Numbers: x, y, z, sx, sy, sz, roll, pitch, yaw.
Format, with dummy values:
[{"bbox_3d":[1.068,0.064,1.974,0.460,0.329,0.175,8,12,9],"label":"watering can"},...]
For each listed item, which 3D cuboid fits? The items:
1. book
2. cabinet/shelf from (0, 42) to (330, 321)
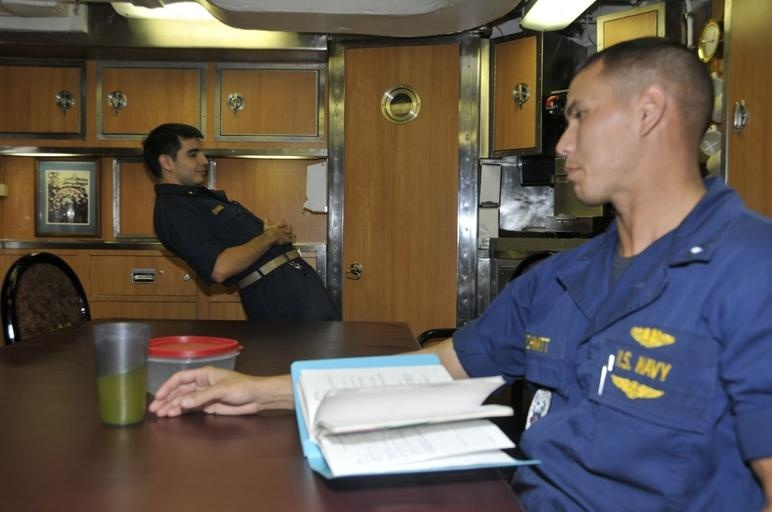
[{"bbox_3d":[0.043,0.395,1.636,0.496,0.209,0.460,-1,13,-16],"label":"book"},{"bbox_3d":[-1.501,-0.553,4.464,2.046,1.871,0.706,0,-2,0],"label":"cabinet/shelf"}]
